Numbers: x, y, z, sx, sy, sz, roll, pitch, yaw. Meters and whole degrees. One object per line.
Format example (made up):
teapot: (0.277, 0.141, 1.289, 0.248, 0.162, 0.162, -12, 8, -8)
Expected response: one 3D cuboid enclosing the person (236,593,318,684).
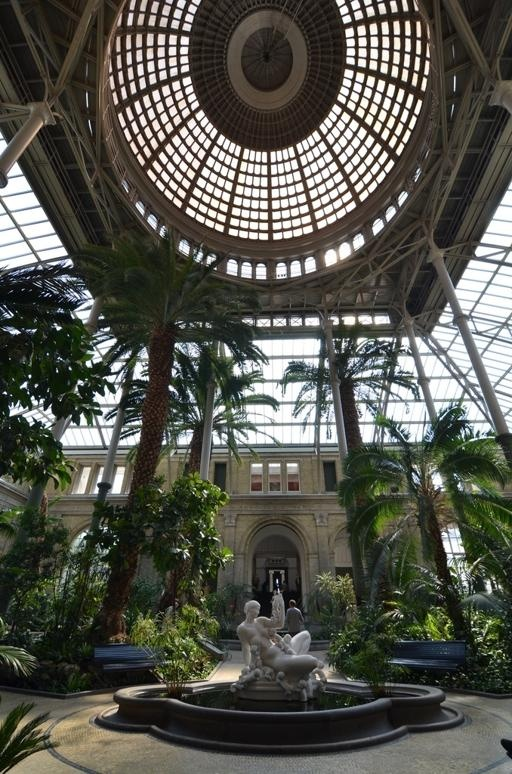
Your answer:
person: (0.253, 3.449, 5.591, 0.995, 1.132, 0.799, -13, -27, 6)
